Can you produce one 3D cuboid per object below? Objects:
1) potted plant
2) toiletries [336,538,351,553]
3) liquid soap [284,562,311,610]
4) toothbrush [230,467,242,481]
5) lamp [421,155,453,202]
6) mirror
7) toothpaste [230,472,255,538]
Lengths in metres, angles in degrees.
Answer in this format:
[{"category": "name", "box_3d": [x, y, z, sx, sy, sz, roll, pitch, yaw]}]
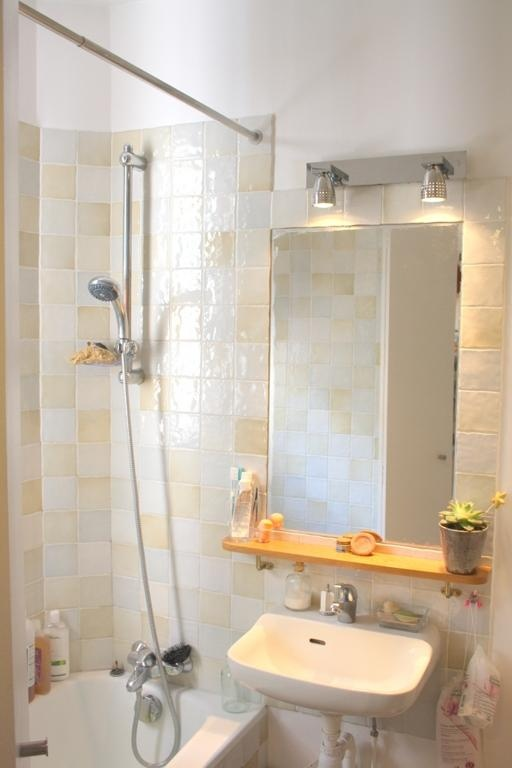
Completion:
[{"category": "potted plant", "box_3d": [0.502, 0.379, 1.552, 0.094, 0.171, 0.093, -3, 5, -19]}, {"category": "toiletries", "box_3d": [0.239, 0.440, 1.739, 0.033, 0.029, 0.032, 1, 1, -36]}, {"category": "liquid soap", "box_3d": [0.115, 0.571, 1.832, 0.088, 0.141, 0.090, 1, 6, 23]}, {"category": "toothbrush", "box_3d": [-0.059, 0.275, 1.943, 0.046, 0.049, 0.033, -5, -11, 43]}, {"category": "lamp", "box_3d": [0.439, -0.494, 1.561, 0.073, 0.123, 0.123, 0, 1, 22]}, {"category": "mirror", "box_3d": [0.345, -0.092, 1.847, 0.554, 0.059, 1.007, -8, -33, 5]}, {"category": "toothpaste", "box_3d": [-0.036, 0.357, 1.900, 0.070, 0.176, 0.127, -1, 5, 2]}]
